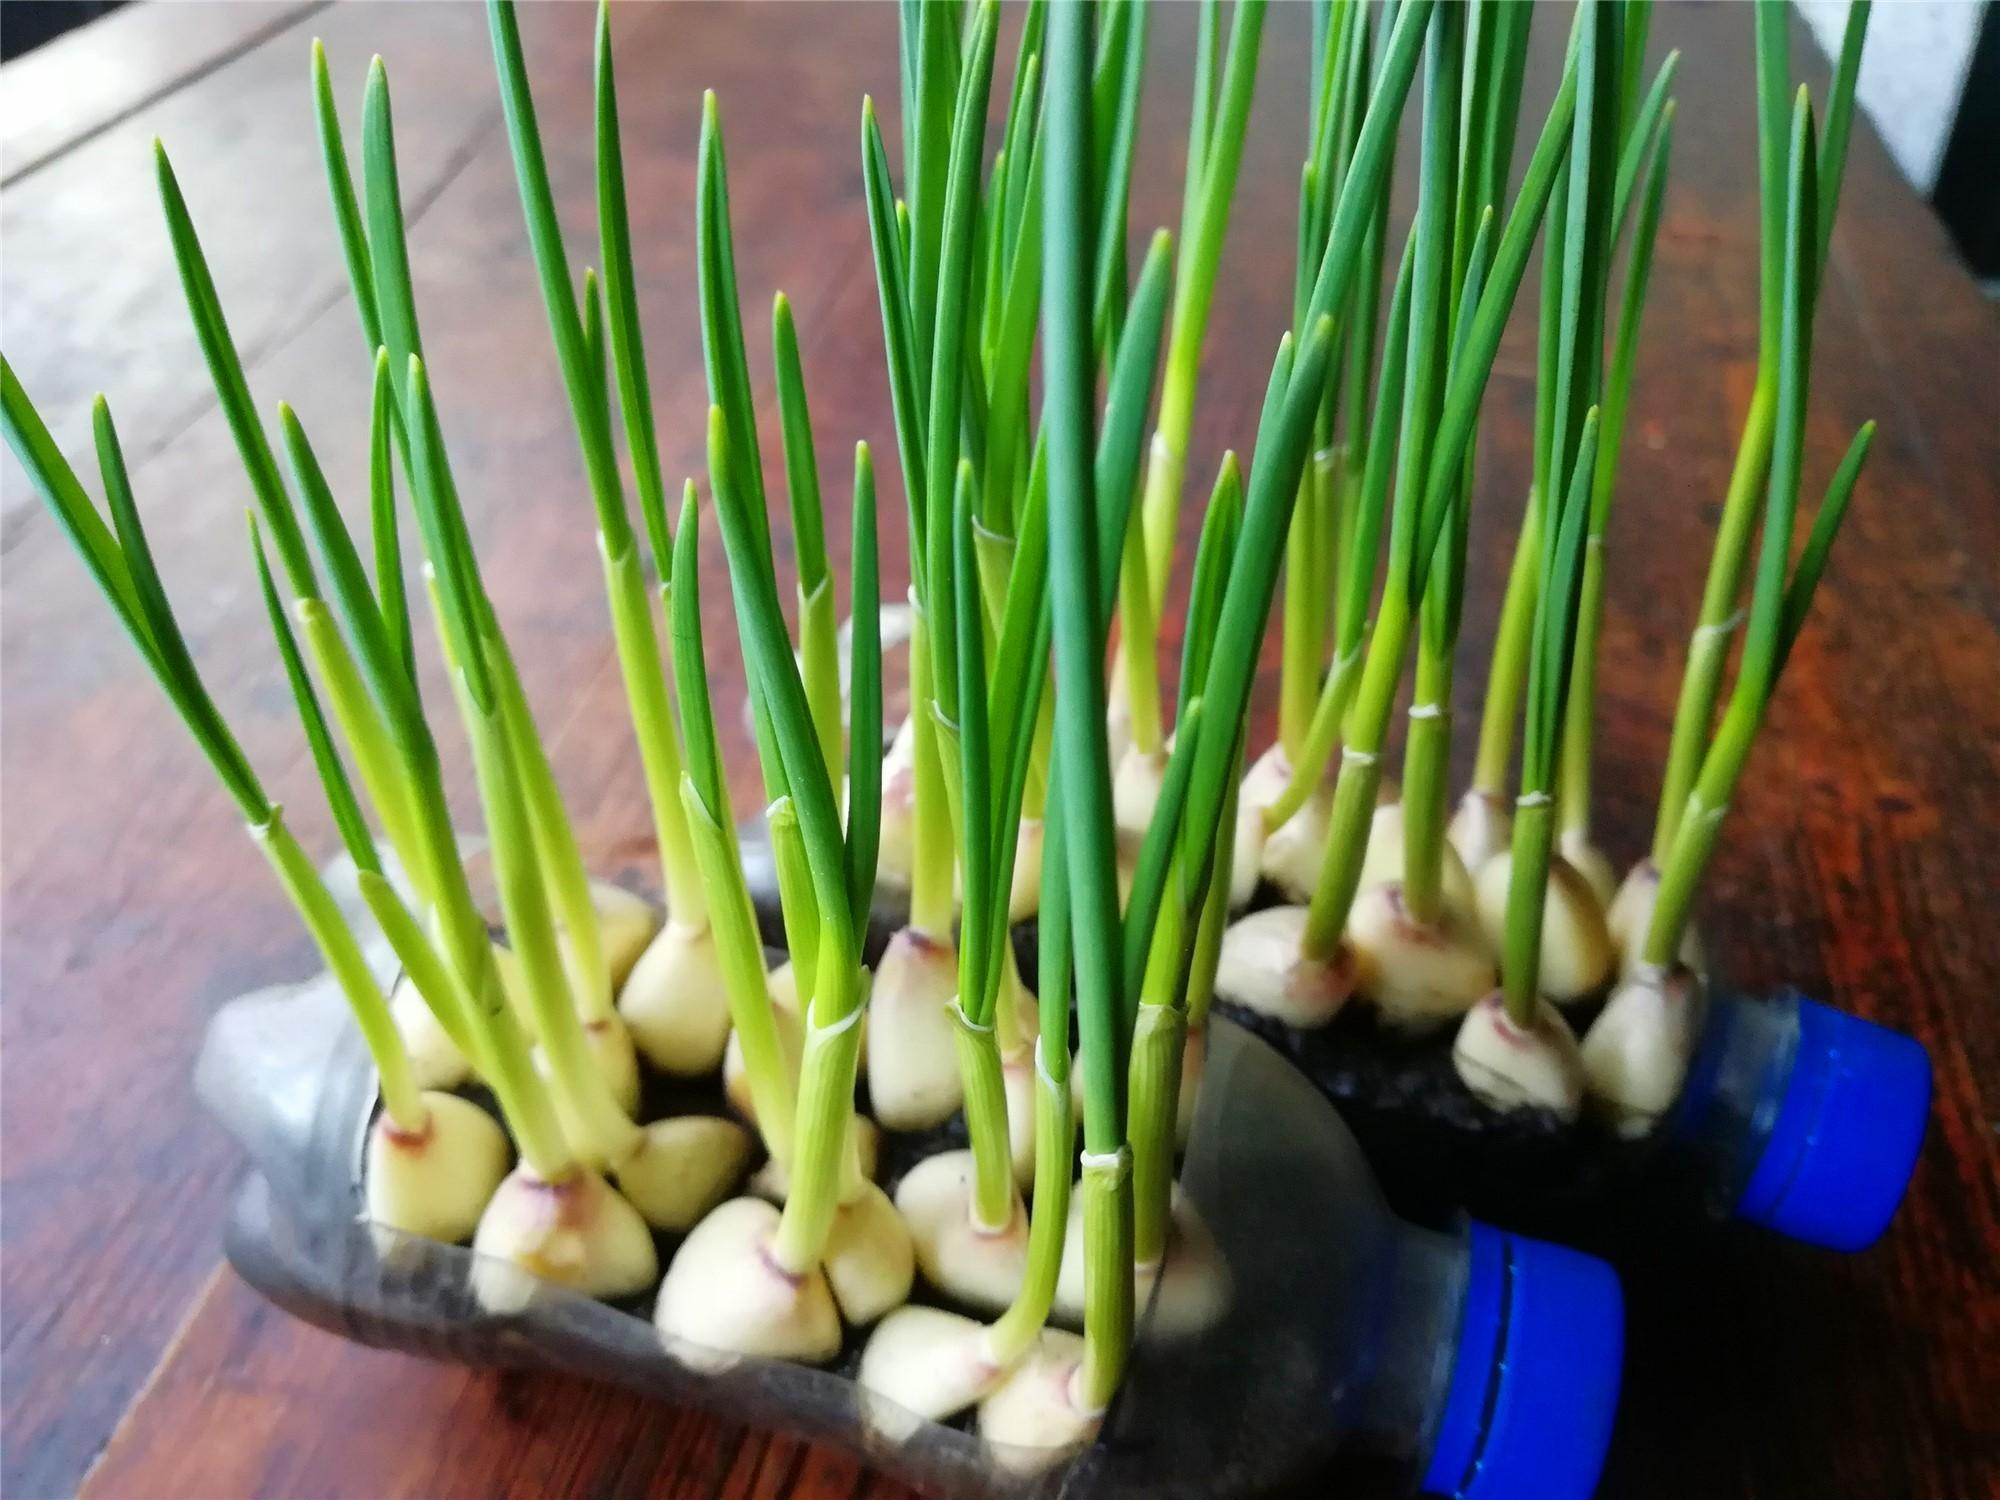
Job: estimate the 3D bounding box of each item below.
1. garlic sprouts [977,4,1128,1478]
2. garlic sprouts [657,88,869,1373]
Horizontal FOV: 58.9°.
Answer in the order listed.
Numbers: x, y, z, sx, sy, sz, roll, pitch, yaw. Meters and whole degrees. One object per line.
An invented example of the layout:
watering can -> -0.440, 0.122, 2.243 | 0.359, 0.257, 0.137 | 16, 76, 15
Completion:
garlic sprouts -> 0.015, 0.025, 0.397 | 0.038, 0.323, 0.108 | 4, 43, 8
garlic sprouts -> -0.038, 0.021, 0.443 | 0.058, 0.329, 0.079 | 3, 38, 4
